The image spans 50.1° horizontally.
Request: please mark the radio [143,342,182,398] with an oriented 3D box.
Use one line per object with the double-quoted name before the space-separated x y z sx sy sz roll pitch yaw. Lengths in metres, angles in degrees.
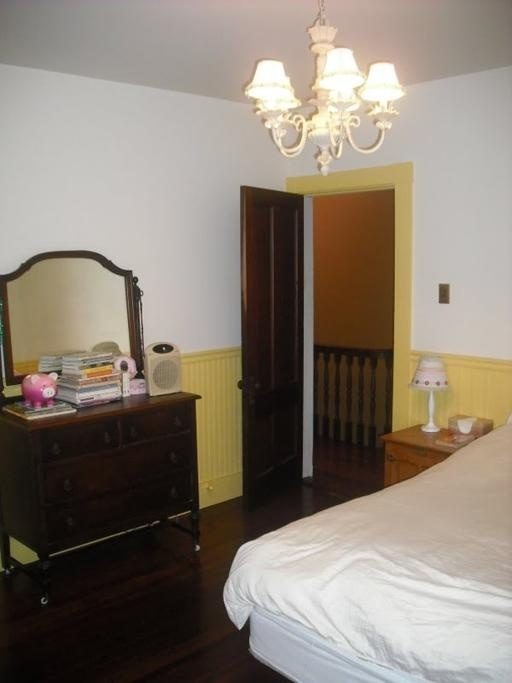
"radio" -0.568 0.166 3.323 0.216 0.301 0.181 -2 4 -16
